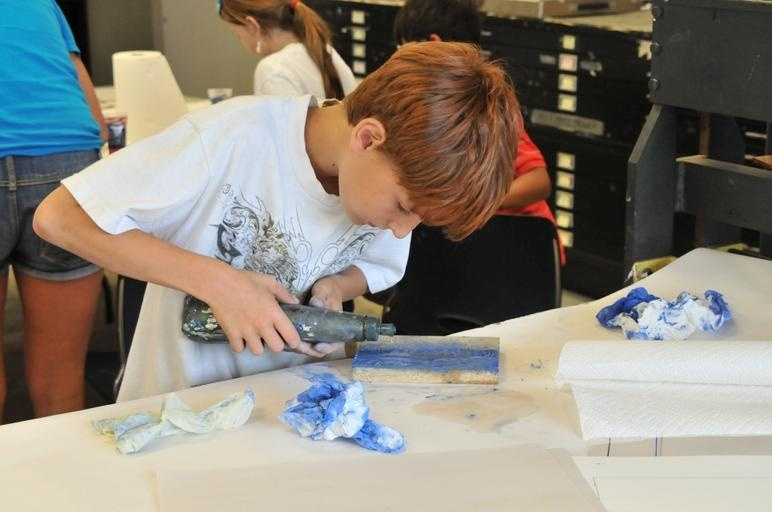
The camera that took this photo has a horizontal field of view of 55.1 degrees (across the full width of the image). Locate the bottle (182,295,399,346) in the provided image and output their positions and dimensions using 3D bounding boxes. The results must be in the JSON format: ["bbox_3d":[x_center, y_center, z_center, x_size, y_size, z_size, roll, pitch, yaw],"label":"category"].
[{"bbox_3d":[-0.218,0.138,1.550,0.402,0.114,0.115,1,27,3],"label":"bottle"}]
